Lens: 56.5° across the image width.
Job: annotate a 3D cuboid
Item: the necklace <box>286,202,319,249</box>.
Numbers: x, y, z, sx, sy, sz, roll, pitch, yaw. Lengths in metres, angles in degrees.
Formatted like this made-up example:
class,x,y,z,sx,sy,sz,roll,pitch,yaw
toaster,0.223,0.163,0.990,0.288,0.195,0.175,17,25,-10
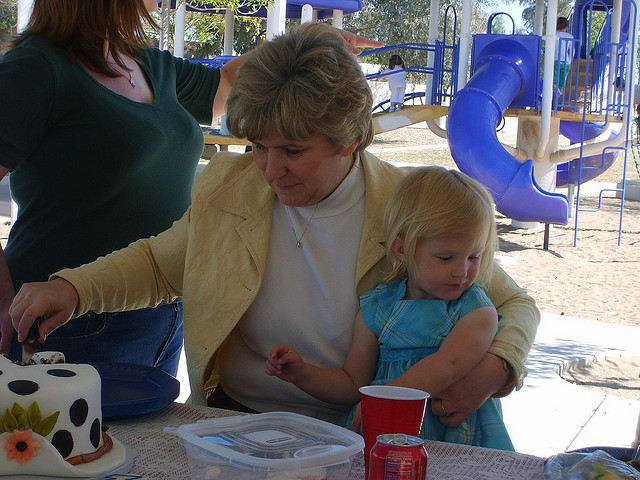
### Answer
class,x,y,z,sx,sy,sz,roll,pitch,yaw
necklace,-0.070,-0.035,1.930,0.104,0.146,0.015,4,-13,10

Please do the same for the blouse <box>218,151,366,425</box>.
class,x,y,z,sx,sy,sz,roll,pitch,yaw
blouse,-0.052,0.155,2.064,0.449,0.872,0.632,20,19,40

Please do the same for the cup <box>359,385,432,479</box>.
class,x,y,z,sx,sy,sz,roll,pitch,yaw
cup,0.131,0.396,1.322,0.154,0.199,0.163,2,7,0

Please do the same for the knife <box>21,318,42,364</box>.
class,x,y,z,sx,sy,sz,roll,pitch,yaw
knife,-0.798,0.280,1.637,0.033,0.128,0.089,2,-10,-2

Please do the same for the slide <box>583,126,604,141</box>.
class,x,y,z,sx,sy,sz,roll,pitch,yaw
slide,5.842,-2.249,12.708,0.344,0.283,0.685,12,13,24
